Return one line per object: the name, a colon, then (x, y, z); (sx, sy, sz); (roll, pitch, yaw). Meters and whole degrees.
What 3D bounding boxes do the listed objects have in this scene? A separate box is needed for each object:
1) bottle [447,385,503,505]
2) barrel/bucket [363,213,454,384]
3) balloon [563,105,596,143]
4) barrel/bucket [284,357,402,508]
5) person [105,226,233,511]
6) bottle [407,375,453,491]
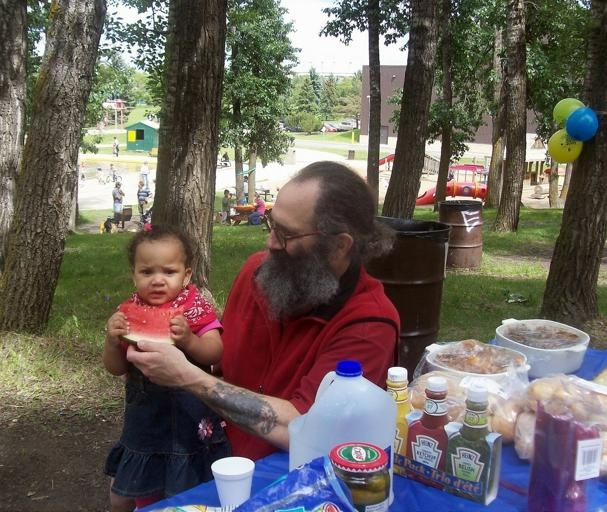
bottle: (0.606, 0.689, 1.891); (0.169, 0.359, 0.295); (8, 10, 28)
barrel/bucket: (0.830, 0.202, 4.839); (0.861, 1.494, 0.814); (1, 9, 0)
balloon: (3.186, -1.520, 6.154); (0.228, 0.400, 0.381); (-1, 14, -14)
barrel/bucket: (0.132, 0.599, 1.767); (0.371, 0.568, 0.287); (4, 9, 28)
person: (-0.665, 0.577, 2.551); (0.429, 1.435, 0.531); (2, 3, 44)
bottle: (0.456, 0.638, 1.999); (0.132, 0.431, 0.188); (9, 11, 36)
